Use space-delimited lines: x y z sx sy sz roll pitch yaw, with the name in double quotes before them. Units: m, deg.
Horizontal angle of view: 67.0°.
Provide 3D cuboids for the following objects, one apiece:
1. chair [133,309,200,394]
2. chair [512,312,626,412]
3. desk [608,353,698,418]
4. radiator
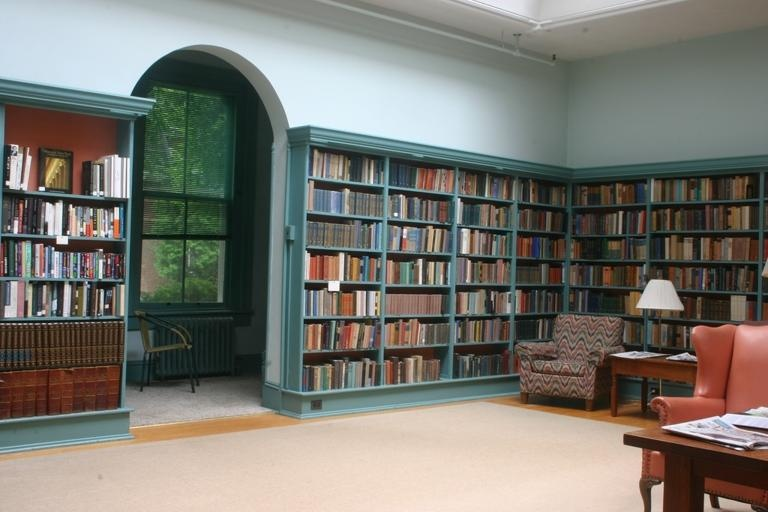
"chair" -3.342 1.402 8.939 0.865 1.175 0.880 0 -1 -17
"chair" 2.777 1.475 8.493 1.295 1.120 1.467 3 -3 -37
"desk" 3.671 1.754 7.730 1.441 0.941 1.057 -5 -11 25
"radiator" -2.978 1.510 9.548 0.216 1.015 1.319 -28 -24 34
